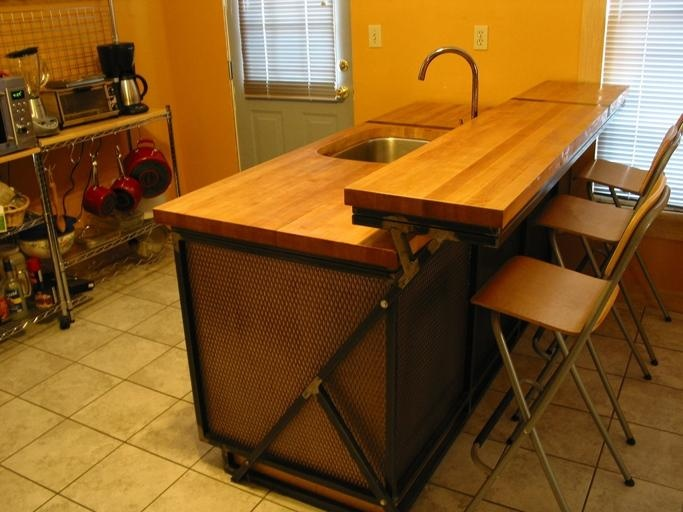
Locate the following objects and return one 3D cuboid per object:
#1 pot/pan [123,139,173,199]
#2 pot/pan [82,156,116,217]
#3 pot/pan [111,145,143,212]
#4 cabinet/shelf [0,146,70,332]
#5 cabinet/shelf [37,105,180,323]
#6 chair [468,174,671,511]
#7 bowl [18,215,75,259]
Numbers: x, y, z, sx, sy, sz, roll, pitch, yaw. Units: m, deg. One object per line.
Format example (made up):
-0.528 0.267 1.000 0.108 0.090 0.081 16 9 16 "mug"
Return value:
-1.408 -0.621 4.024 0.308 0.419 0.209 -27 46 -12 "pot/pan"
-1.700 -0.480 3.901 0.180 0.476 0.180 27 47 18 "pot/pan"
-1.505 -0.536 3.897 0.215 0.428 0.146 -14 14 -22 "pot/pan"
-1.884 -0.160 3.491 0.247 1.064 0.650 -15 30 -26 "cabinet/shelf"
-1.594 -0.255 3.755 0.348 1.051 1.087 13 35 26 "cabinet/shelf"
0.989 0.428 2.481 0.577 1.447 0.578 23 47 31 "chair"
-1.853 -0.100 3.526 0.247 0.151 0.264 -2 19 1 "bowl"
